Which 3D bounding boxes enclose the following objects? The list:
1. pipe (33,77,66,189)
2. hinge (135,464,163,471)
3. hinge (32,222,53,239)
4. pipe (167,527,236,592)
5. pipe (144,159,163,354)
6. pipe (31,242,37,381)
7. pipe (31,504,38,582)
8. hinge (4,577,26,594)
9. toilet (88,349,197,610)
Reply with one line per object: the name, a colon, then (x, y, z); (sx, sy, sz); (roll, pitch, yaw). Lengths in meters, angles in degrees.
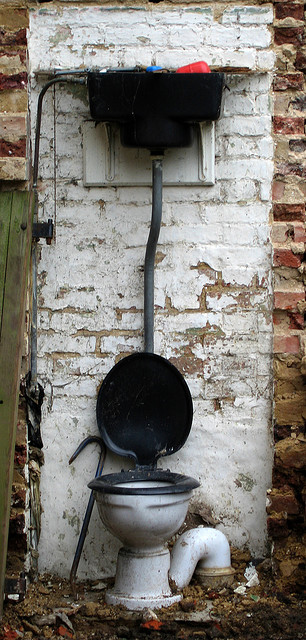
pipe: (-0.421, -0.732, 3.613); (0.085, 0.433, 0.175); (-1, 4, -36)
hinge: (-0.030, 0.576, 3.585); (0.082, 0.021, 0.026); (3, 4, -3)
hinge: (-0.438, -0.352, 3.608); (0.066, 0.100, 0.046); (0, 1, -1)
pipe: (0.181, 0.848, 3.479); (0.254, 0.303, 0.228); (-3, 34, 0)
pipe: (-0.002, -0.247, 3.601); (0.045, 0.755, 0.094); (0, 3, -15)
pipe: (-0.478, -0.035, 3.666); (0.025, 0.546, 0.094); (1, 3, -7)
pipe: (-0.466, 0.870, 3.563); (0.028, 0.278, 0.077); (1, 3, -8)
hinge: (-0.510, 0.968, 3.361); (0.078, 0.055, 0.090); (2, 5, -11)
toilet: (-0.033, 0.587, 3.437); (0.403, 0.889, 0.544); (1, 4, -2)
